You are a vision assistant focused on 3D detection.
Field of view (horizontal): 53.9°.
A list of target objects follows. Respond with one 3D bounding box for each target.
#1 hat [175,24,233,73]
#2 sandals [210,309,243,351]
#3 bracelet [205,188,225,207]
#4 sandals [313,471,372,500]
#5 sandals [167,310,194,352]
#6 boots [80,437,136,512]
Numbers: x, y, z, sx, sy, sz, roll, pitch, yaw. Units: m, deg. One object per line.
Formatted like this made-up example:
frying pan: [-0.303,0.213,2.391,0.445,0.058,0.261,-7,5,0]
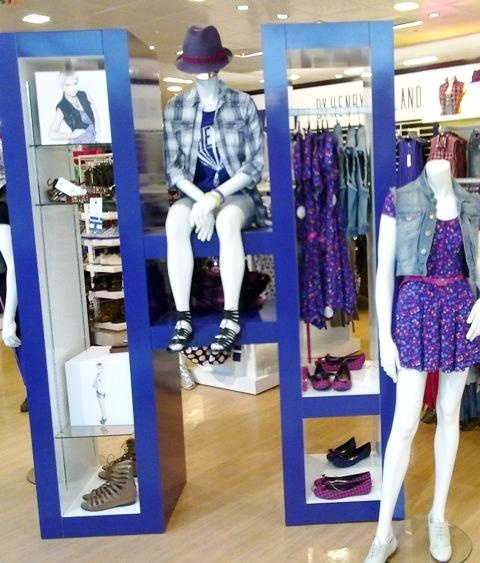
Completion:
hat: [-0.144,-0.906,1.921,0.159,0.106,0.250,-4,39,6]
sandals: [-0.061,0.194,1.824,0.107,0.159,0.181,-1,3,20]
bracelet: [-0.098,-0.327,1.858,0.027,0.074,0.065,-28,-21,9]
sandals: [0.454,0.885,2.059,0.192,0.070,0.120,-4,19,5]
sandals: [-0.227,0.192,1.830,0.054,0.140,0.186,-10,10,15]
boots: [-0.578,0.818,2.138,0.171,0.142,0.351,2,1,-5]
